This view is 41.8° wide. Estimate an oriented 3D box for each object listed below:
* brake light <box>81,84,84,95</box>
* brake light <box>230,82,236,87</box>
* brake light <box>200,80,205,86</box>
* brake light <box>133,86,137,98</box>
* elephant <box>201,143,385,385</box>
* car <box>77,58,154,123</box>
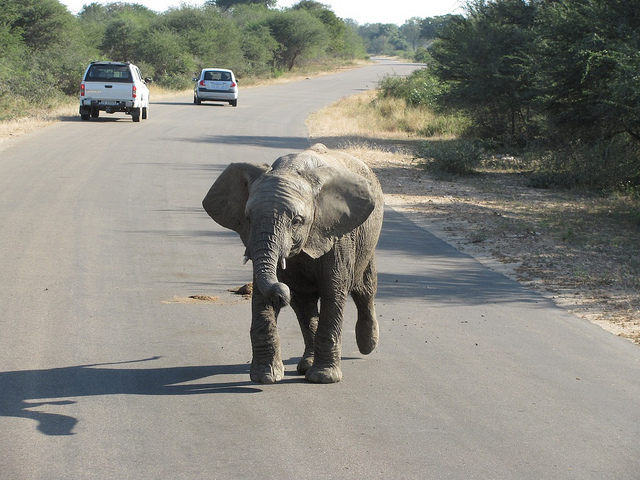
[{"bbox_3d":[-8.364,-5.303,29.431,0.080,0.356,0.338,-1,15,-17],"label":"brake light"},{"bbox_3d":[-4.335,-7.680,41.226,0.280,0.210,0.364,-1,1,-8],"label":"brake light"},{"bbox_3d":[-5.758,-7.695,40.867,0.175,0.240,0.088,3,-9,-3],"label":"brake light"},{"bbox_3d":[-6.584,-5.269,29.670,0.109,0.413,0.254,0,15,-13],"label":"brake light"},{"bbox_3d":[-0.233,0.346,8.490,1.418,2.402,2.345,10,16,25],"label":"elephant"},{"bbox_3d":[-7.518,-5.369,30.394,2.340,2.151,2.133,-2,15,-19],"label":"car"}]
